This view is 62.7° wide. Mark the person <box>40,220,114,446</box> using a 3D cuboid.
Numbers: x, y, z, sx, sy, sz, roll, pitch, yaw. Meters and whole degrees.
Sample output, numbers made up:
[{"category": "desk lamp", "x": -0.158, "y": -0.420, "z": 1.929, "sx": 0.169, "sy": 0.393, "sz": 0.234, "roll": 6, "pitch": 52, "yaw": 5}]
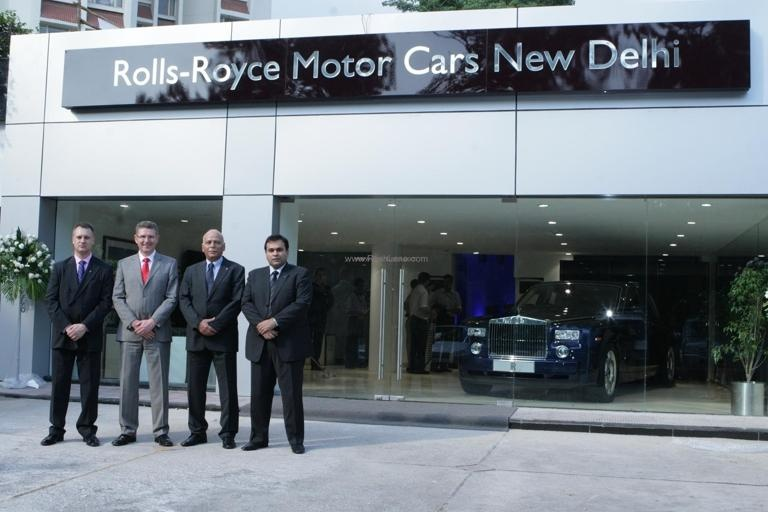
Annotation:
[{"category": "person", "x": -3.740, "y": 0.935, "z": 7.769, "sx": 0.731, "sy": 2.695, "sz": 0.563, "roll": 2, "pitch": -2, "yaw": -28}]

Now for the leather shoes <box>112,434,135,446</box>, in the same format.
[{"category": "leather shoes", "x": -3.169, "y": 2.263, "z": 7.732, "sx": 0.102, "sy": 0.110, "sz": 0.276, "roll": -6, "pitch": -15, "yaw": 33}]

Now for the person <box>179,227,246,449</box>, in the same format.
[{"category": "person", "x": -2.134, "y": 1.163, "z": 7.739, "sx": 0.762, "sy": 2.307, "sz": 0.344, "roll": 1, "pitch": -2, "yaw": -5}]

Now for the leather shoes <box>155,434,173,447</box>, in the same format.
[{"category": "leather shoes", "x": -2.666, "y": 2.256, "z": 7.661, "sx": 0.098, "sy": 0.105, "sz": 0.263, "roll": 6, "pitch": -10, "yaw": -40}]

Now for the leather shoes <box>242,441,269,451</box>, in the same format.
[{"category": "leather shoes", "x": -1.545, "y": 2.282, "z": 7.589, "sx": 0.315, "sy": 0.123, "sz": 0.110, "roll": 11, "pitch": -13, "yaw": -35}]

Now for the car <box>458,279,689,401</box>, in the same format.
[{"category": "car", "x": 3.028, "y": 1.371, "z": 10.295, "sx": 1.720, "sy": 1.227, "sz": 2.850, "roll": -7, "pitch": -12, "yaw": 40}]

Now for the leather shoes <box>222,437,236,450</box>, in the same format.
[{"category": "leather shoes", "x": -1.878, "y": 2.261, "z": 7.664, "sx": 0.169, "sy": 0.124, "sz": 0.246, "roll": 2, "pitch": -1, "yaw": -14}]

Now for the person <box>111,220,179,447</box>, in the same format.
[{"category": "person", "x": -2.954, "y": 0.936, "z": 7.803, "sx": 0.782, "sy": 2.726, "sz": 0.473, "roll": 2, "pitch": -2, "yaw": -13}]

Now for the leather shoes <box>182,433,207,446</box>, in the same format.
[{"category": "leather shoes", "x": -2.325, "y": 2.269, "z": 7.737, "sx": 0.318, "sy": 0.213, "sz": 0.106, "roll": 14, "pitch": -17, "yaw": -39}]

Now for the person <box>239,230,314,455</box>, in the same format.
[{"category": "person", "x": -1.318, "y": 1.201, "z": 7.627, "sx": 0.816, "sy": 2.271, "sz": 0.422, "roll": 2, "pitch": -2, "yaw": -9}]

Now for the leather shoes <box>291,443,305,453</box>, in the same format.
[{"category": "leather shoes", "x": -1.027, "y": 2.289, "z": 7.495, "sx": 0.161, "sy": 0.113, "sz": 0.165, "roll": 1, "pitch": -1, "yaw": -9}]

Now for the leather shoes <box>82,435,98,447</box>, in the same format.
[{"category": "leather shoes", "x": -3.543, "y": 2.256, "z": 7.648, "sx": 0.085, "sy": 0.084, "sz": 0.229, "roll": 4, "pitch": -10, "yaw": -43}]

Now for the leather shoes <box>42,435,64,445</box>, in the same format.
[{"category": "leather shoes", "x": -4.008, "y": 2.246, "z": 7.675, "sx": 0.100, "sy": 0.105, "sz": 0.265, "roll": -5, "pitch": -13, "yaw": 26}]
